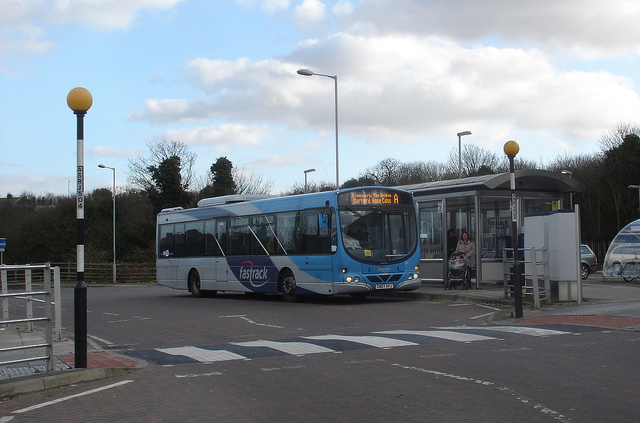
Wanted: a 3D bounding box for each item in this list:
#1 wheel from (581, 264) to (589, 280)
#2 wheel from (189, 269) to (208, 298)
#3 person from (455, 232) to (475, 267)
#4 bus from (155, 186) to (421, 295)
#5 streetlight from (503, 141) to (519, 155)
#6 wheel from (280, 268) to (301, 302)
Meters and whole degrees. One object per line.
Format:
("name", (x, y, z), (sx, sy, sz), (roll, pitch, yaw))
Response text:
("wheel", (14.820, 3.378, 34.642), (0.335, 0.537, 0.776), (-3, -3, 24))
("wheel", (-5.219, 3.050, 26.611), (0.434, 1.289, 1.200), (1, 0, -34))
("person", (5.586, 1.486, 23.784), (0.622, 1.306, 0.706), (-3, -3, 13))
("bus", (-2.225, 1.275, 25.425), (13.393, 3.939, 3.346), (-6, -5, 44))
("streetlight", (5.117, -1.700, 16.640), (0.341, 0.347, 0.524), (-3, -3, 16))
("wheel", (-1.054, 2.621, 22.351), (0.372, 1.214, 0.983), (-2, 12, -32))
